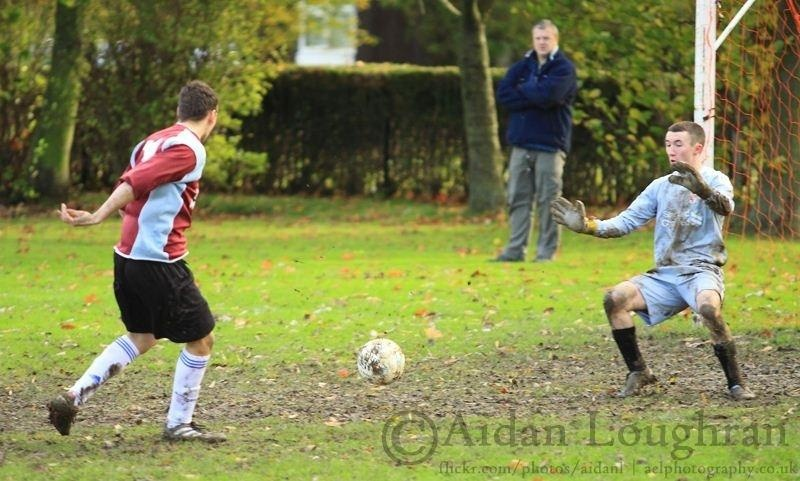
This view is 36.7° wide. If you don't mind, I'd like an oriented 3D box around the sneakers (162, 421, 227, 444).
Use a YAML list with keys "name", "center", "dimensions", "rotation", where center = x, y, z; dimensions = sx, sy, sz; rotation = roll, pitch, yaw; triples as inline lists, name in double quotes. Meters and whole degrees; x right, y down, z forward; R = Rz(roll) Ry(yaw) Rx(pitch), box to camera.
- name: "sneakers"
  center: [-2.172, 1.995, 12.678]
  dimensions: [0.703, 0.221, 0.237]
  rotation: [-1, -2, -1]

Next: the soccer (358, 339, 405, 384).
- name: "soccer"
  center: [-0.218, 1.332, 13.413]
  dimensions: [0.496, 0.455, 0.238]
  rotation: [1, 7, 1]

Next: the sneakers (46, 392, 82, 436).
- name: "sneakers"
  center: [-3.484, 1.774, 12.488]
  dimensions: [0.308, 0.420, 0.190]
  rotation: [-1, 7, -7]

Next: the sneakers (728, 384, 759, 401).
- name: "sneakers"
  center: [3.747, 1.641, 13.238]
  dimensions: [0.291, 0.137, 0.241]
  rotation: [-1, 7, -14]
